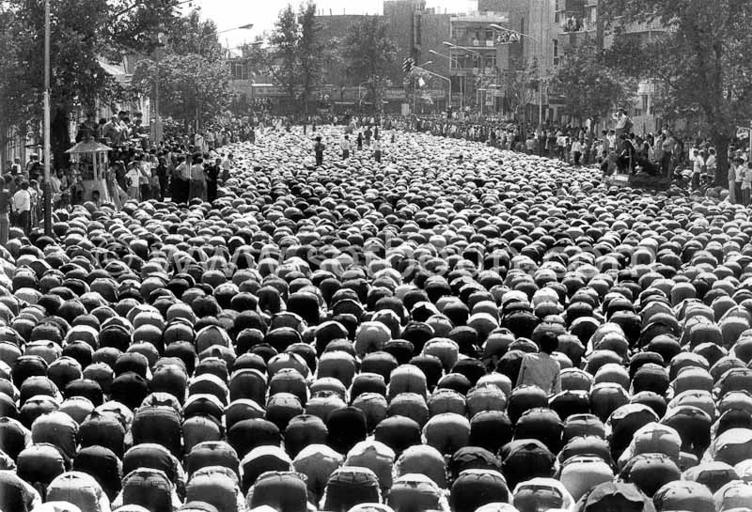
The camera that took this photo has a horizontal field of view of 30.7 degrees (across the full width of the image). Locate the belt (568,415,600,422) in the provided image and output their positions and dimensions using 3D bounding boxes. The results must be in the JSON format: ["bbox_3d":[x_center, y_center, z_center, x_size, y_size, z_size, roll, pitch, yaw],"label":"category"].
[{"bbox_3d":[5.010,3.989,33.292,0.796,0.174,0.313,2,9,5],"label":"belt"}]

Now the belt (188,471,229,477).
[{"bbox_3d":[-3.771,5.000,31.079,0.767,0.155,0.152,1,8,-1],"label":"belt"}]
